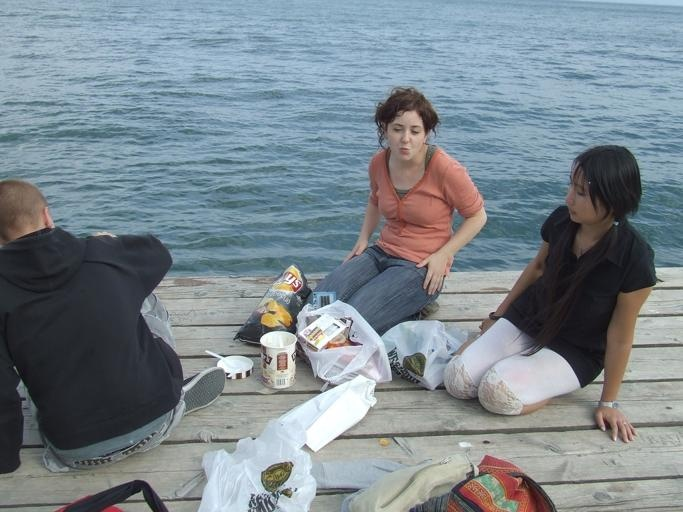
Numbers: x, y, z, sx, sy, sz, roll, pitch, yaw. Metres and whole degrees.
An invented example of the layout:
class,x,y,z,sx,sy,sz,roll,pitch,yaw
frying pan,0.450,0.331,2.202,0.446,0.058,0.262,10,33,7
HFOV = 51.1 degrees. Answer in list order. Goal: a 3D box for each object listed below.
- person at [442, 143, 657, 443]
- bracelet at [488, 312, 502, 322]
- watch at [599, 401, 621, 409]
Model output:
class,x,y,z,sx,sy,sz,roll,pitch,yaw
person,1.354,0.181,4.219,1.111,1.644,0.889,23,33,32
bracelet,1.065,0.414,4.939,0.054,0.022,0.077,38,17,29
watch,1.638,0.899,4.357,0.119,0.051,0.109,7,-8,-32
